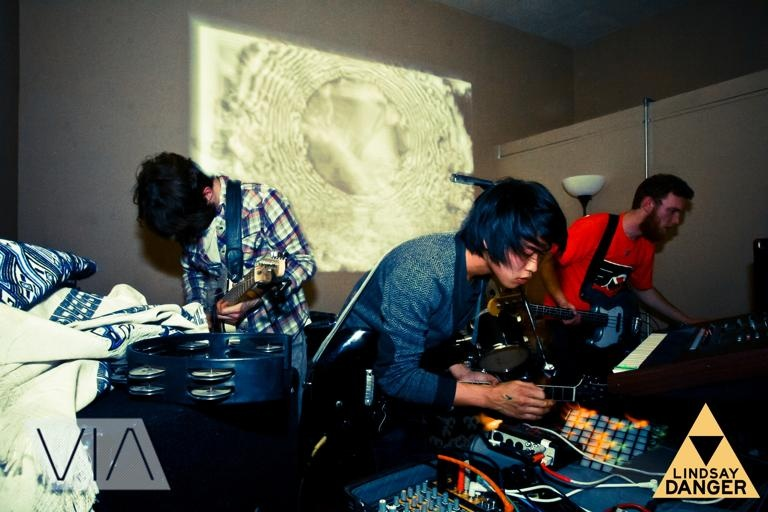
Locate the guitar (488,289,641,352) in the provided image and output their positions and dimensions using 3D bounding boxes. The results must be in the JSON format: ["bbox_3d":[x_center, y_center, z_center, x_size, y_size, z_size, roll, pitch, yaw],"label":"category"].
[{"bbox_3d":[0.998,0.320,3.169,1.128,0.108,0.436,10,15,-35],"label":"guitar"}]

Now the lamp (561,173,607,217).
[{"bbox_3d":[1.379,-0.380,3.878,0.277,0.388,0.268,-6,-3,25],"label":"lamp"}]

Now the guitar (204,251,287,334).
[{"bbox_3d":[-0.550,0.163,2.320,0.161,0.367,0.404,-1,7,-34],"label":"guitar"}]

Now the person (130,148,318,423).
[{"bbox_3d":[-0.787,0.015,2.540,0.224,1.236,0.626,-34,-26,24],"label":"person"}]

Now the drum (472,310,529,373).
[{"bbox_3d":[0.581,0.437,2.883,0.210,0.202,0.206,-35,27,28],"label":"drum"}]

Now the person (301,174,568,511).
[{"bbox_3d":[0.172,0.279,2.065,0.886,1.134,0.397,3,6,-8],"label":"person"}]
